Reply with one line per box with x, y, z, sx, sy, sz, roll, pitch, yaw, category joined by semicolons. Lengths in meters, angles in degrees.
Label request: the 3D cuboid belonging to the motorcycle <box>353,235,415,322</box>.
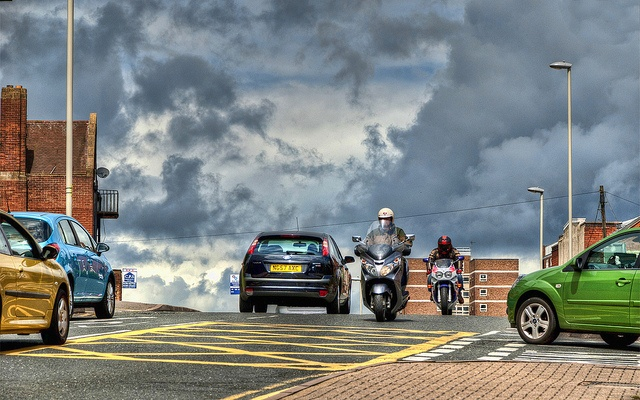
1.480;1.766;19.490;1.272;2.235;1.375;-1;-7;13;motorcycle

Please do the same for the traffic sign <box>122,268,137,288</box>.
-10.249;4.155;43.902;0.689;0.937;0.765;3;-7;-17;traffic sign

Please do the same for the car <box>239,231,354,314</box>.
-0.533;1.958;22.809;2.279;1.326;3.566;0;-3;6;car

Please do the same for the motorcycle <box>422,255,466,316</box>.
3.462;2.348;22.860;0.649;1.432;0.892;-6;-10;44;motorcycle

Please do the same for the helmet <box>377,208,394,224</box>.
1.427;0.376;17.833;0.431;0.420;0.532;-1;-3;7;helmet

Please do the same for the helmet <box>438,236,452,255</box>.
3.519;1.270;23.108;0.388;0.488;0.546;0;-7;7;helmet
